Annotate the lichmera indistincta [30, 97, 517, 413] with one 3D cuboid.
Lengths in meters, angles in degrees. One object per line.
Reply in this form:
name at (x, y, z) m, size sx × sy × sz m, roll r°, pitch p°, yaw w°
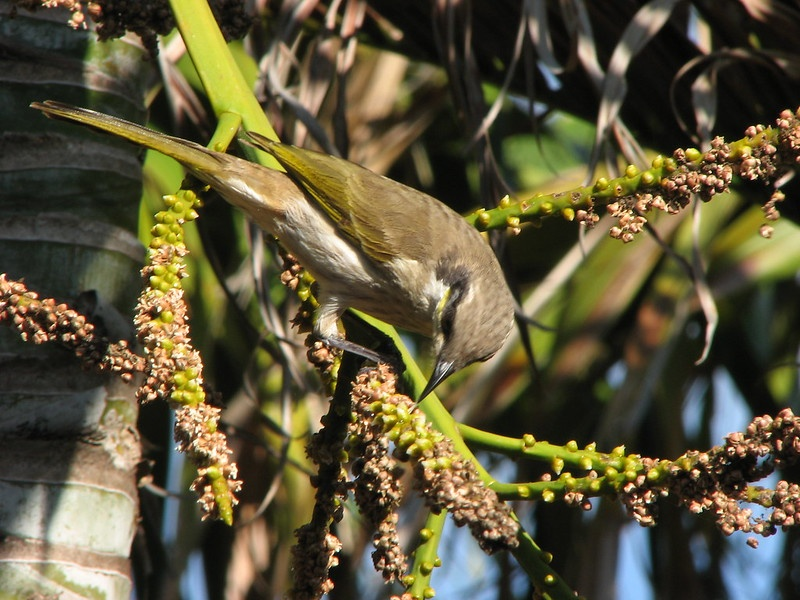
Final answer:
lichmera indistincta at (-0.554, -0.193, 6.564) m, size 2.043 × 0.807 × 0.500 m, roll 37°, pitch -2°, yaw -4°
